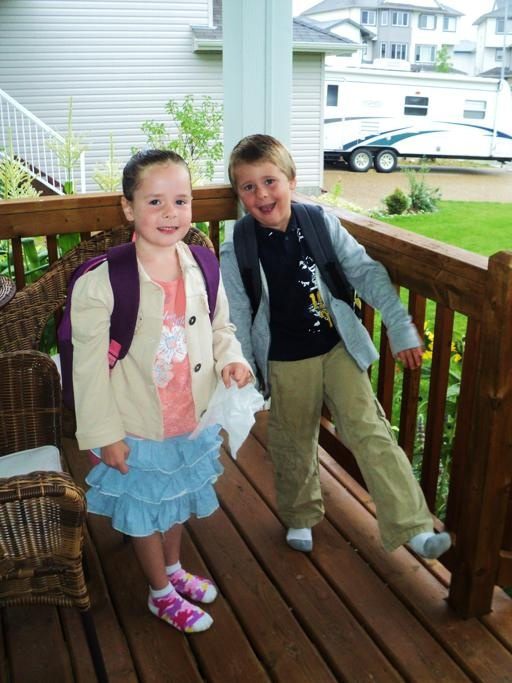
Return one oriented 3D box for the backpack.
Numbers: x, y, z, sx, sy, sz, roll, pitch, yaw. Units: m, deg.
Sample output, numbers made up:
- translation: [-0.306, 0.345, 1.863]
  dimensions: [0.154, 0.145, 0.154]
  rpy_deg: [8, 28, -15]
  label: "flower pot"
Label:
- translation: [-0.251, -0.026, 1.138]
  dimensions: [0.392, 0.406, 0.203]
  rpy_deg: [-6, 14, -23]
  label: "backpack"
